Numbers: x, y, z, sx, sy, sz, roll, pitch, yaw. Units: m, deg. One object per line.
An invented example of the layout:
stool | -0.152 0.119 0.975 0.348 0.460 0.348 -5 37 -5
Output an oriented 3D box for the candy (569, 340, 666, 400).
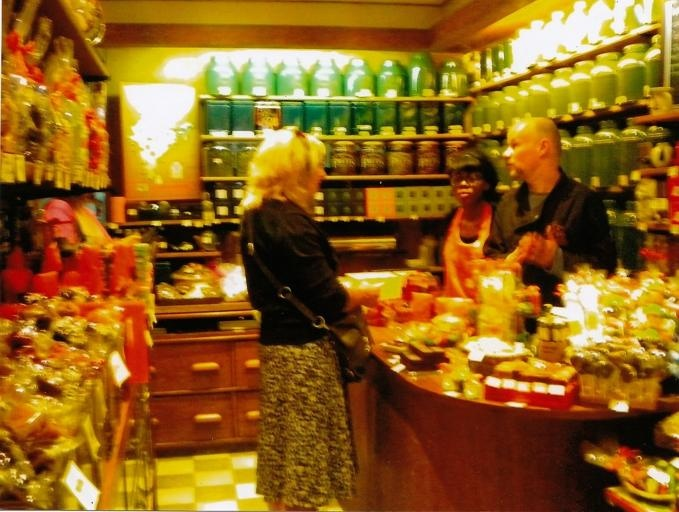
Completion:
candy | 0.825 0.344 1.590 0.216 0.120 0.189 -4 4 10

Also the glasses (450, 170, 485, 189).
glasses | 0.739 -0.442 3.135 0.127 0.049 0.116 2 -11 0
